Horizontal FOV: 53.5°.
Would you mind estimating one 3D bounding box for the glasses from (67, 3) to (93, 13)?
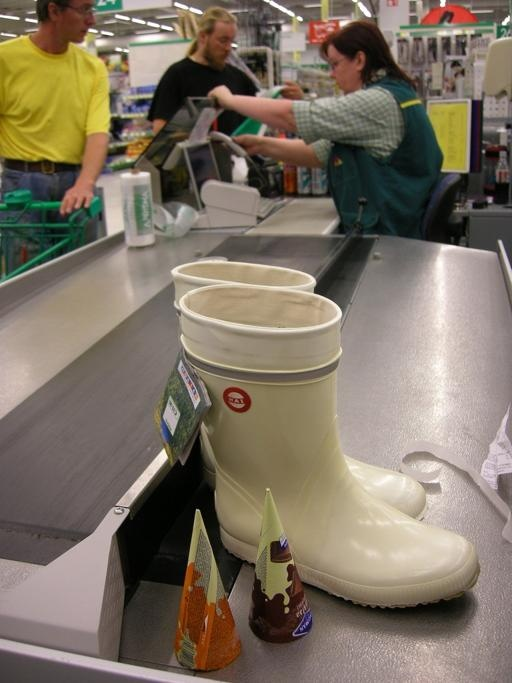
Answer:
[{"bbox_3d":[-0.809,-1.527,2.319,0.067,0.022,0.071,-19,52,-26],"label":"glasses"}]

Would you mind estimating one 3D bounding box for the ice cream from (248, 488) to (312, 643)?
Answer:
[{"bbox_3d":[0.016,0.169,0.393,0.046,0.104,0.046,-10,6,-26],"label":"ice cream"}]

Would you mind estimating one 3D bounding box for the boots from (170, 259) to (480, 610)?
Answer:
[{"bbox_3d":[0.051,0.063,0.529,0.266,0.262,0.252,2,20,11],"label":"boots"}]
